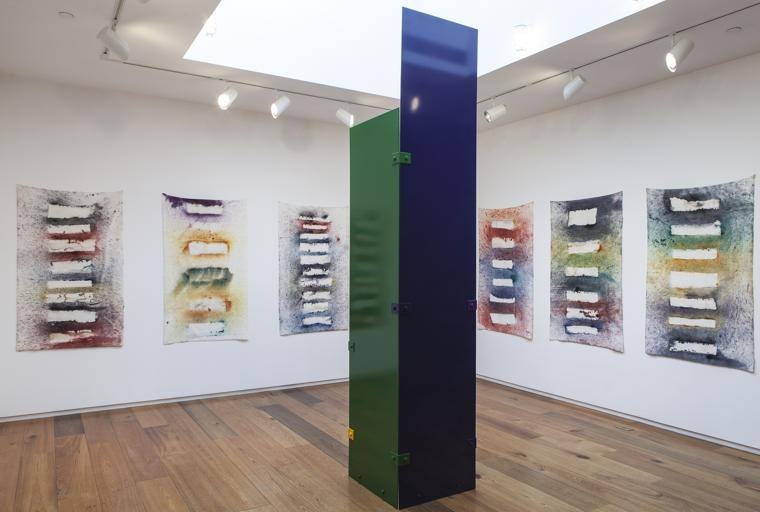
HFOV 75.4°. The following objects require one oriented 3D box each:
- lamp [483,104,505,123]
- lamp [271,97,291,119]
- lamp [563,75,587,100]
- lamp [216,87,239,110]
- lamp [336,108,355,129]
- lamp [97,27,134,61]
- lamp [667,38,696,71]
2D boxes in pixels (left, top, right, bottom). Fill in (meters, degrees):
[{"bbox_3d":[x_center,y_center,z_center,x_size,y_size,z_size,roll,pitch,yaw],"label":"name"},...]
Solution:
[{"bbox_3d":[1.531,-1.908,6.514,0.234,0.272,0.525,2,7,16],"label":"lamp"},{"bbox_3d":[-1.329,-1.977,6.521,0.169,0.184,0.279,4,40,39],"label":"lamp"},{"bbox_3d":[2.291,-1.989,5.786,0.223,0.284,0.334,3,7,22],"label":"lamp"},{"bbox_3d":[-1.947,-2.007,6.234,0.258,0.241,0.355,1,33,-3],"label":"lamp"},{"bbox_3d":[-0.484,-1.917,6.819,0.184,0.237,0.347,1,6,5],"label":"lamp"},{"bbox_3d":[-2.704,-2.178,5.017,0.138,0.141,0.238,-29,-18,-3],"label":"lamp"},{"bbox_3d":[3.075,-2.074,5.025,0.200,0.333,0.215,34,-7,44],"label":"lamp"}]
